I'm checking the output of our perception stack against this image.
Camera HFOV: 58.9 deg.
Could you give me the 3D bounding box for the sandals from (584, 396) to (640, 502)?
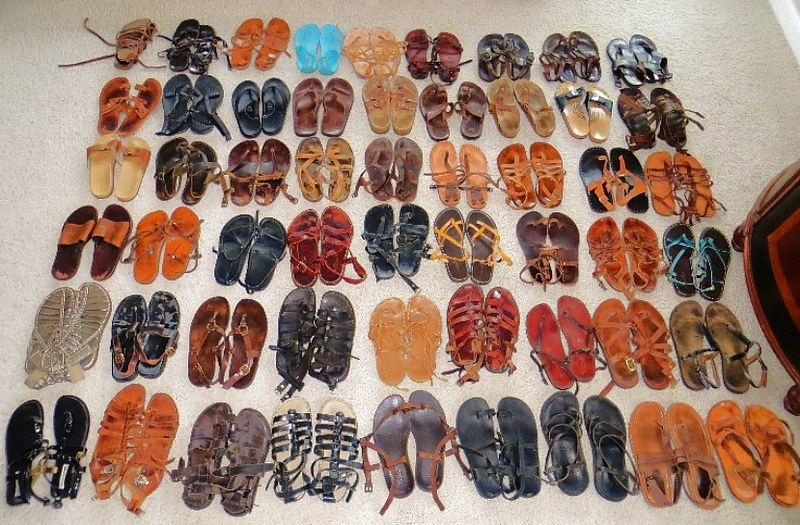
[{"bbox_3d":[1.401,1.260,4.747,0.262,0.188,0.703,-4,84,7],"label":"sandals"}]
